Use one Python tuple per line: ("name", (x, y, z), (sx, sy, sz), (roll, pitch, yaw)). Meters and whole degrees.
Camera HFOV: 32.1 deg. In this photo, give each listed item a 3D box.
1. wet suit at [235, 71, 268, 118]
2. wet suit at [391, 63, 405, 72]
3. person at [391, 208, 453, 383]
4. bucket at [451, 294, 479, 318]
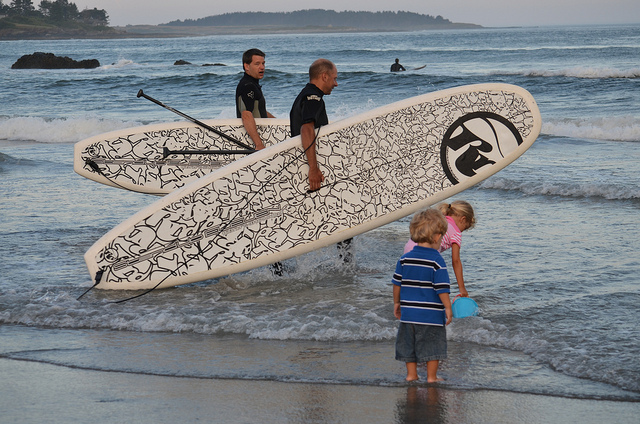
("wet suit", (-1.229, -2.002, 19.075), (0.505, 0.844, 0.414), (-3, 23, -4))
("wet suit", (2.958, -5.683, 43.451), (0.517, 0.431, 0.883), (0, 18, 3))
("person", (1.512, 1.153, 16.851), (0.875, 2.241, 0.884), (0, 23, 3))
("bucket", (2.199, 1.482, 17.194), (0.408, 0.327, 0.265), (1, 21, 5))
